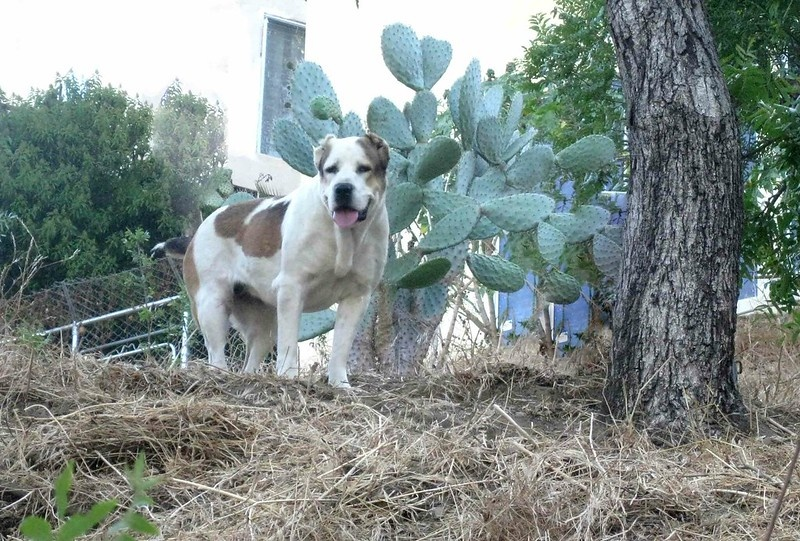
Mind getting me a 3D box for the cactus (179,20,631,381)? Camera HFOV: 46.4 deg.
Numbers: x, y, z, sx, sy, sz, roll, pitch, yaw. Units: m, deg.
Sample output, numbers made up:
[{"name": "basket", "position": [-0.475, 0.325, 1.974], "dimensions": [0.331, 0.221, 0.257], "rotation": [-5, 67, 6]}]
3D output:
[{"name": "cactus", "position": [-0.444, -0.432, 8.702], "dimensions": [4.242, 3.420, 2.839], "rotation": [-6, 2, 9]}]
